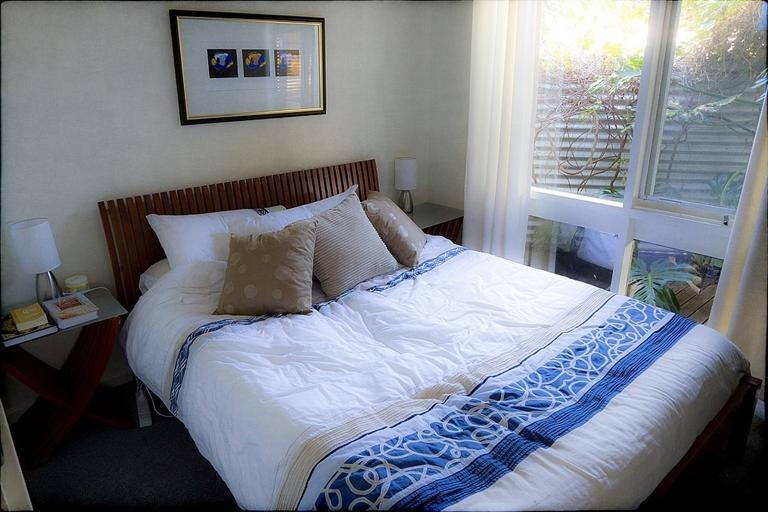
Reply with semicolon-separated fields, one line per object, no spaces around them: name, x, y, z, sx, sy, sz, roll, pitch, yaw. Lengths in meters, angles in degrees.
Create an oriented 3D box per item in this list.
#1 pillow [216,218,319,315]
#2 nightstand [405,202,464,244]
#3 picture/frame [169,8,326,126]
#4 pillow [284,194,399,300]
pillow;-0.628;0.089;2.887;0.503;0.465;0.152;-2;-17;-4
nightstand;0.419;-0.322;4.104;0.321;0.348;0.382;26;41;37
picture/frame;-0.917;-1.241;3.216;0.897;0.564;0.032;-13;26;-34
pillow;-0.263;-0.023;3.112;0.566;0.534;0.171;-38;4;-35
